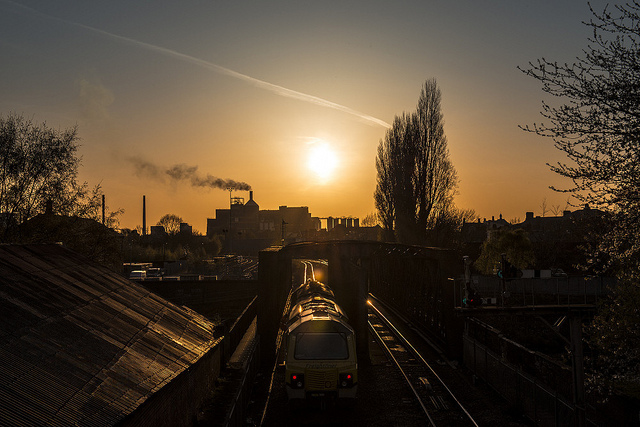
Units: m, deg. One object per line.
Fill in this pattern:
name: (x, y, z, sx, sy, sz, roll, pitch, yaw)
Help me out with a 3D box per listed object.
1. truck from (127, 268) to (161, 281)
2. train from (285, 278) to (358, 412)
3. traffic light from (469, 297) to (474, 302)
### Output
truck: (-18.276, 6.405, 64.317, 2.818, 1.551, 11.423, 3, -8, -14)
train: (-0.088, 6.666, 30.106, 3.218, 5.375, 5.699, 1, -7, -3)
traffic light: (8.101, 4.647, 32.785, 0.146, 0.236, 0.465, -3, -9, 33)
